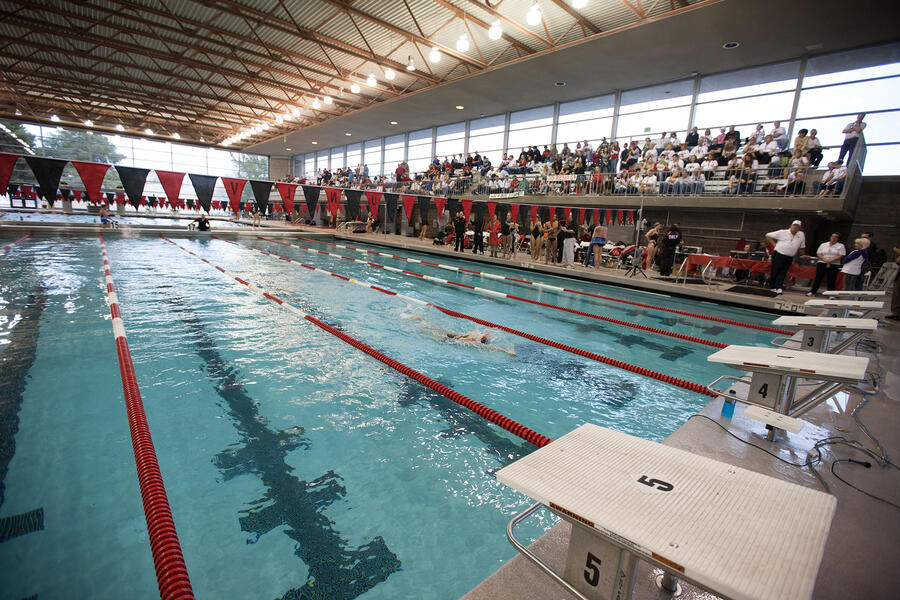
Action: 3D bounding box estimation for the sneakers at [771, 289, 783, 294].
[{"bbox_3d":[5.051,-0.122,7.922,0.161,0.052,0.049,-9,31,-25],"label":"sneakers"}]

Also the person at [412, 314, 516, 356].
[{"bbox_3d":[0.110,0.418,5.697,1.437,0.228,0.361,16,2,12],"label":"person"}]

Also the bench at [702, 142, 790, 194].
[{"bbox_3d":[5.928,-2.548,10.237,1.445,0.863,0.642,8,17,29],"label":"bench"}]
